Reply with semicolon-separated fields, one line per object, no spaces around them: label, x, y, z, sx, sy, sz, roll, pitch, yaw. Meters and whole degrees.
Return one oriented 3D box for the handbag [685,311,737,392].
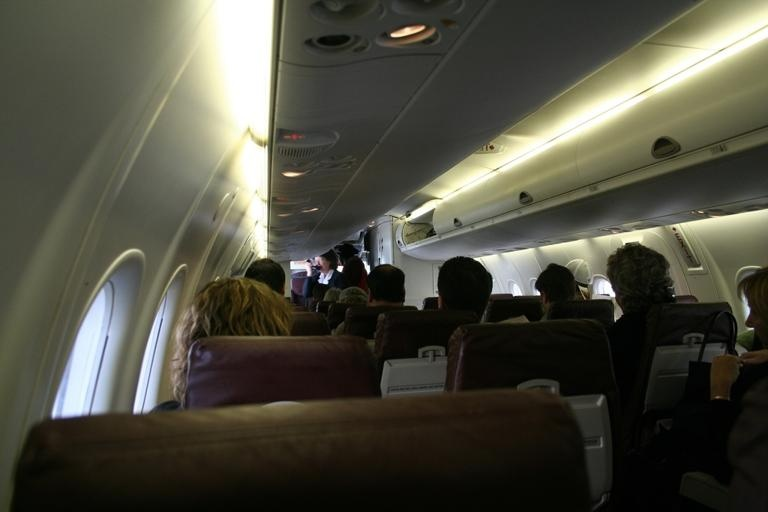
handbag;1.939;0.639;2.999;0.275;0.607;0.177;9;-6;32
